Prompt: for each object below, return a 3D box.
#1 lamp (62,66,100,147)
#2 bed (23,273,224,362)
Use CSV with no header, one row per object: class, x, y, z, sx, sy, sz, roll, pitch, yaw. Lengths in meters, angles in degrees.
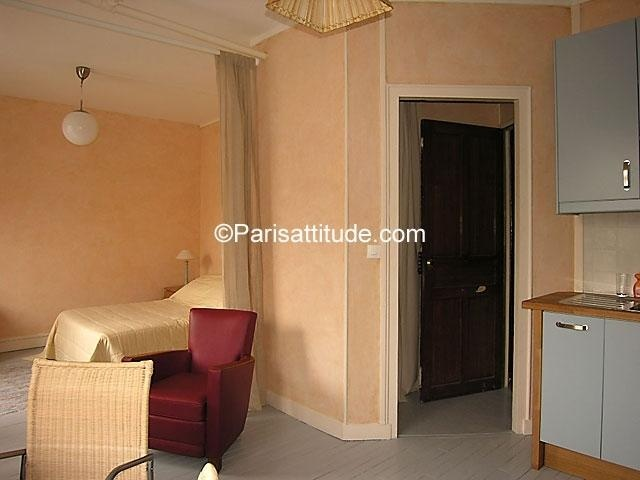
lamp,-2.598,-1.464,5.810,0.368,0.849,0.378,9,9,20
bed,-1.789,0.904,6.066,2.188,0.817,1.459,-1,6,-45
